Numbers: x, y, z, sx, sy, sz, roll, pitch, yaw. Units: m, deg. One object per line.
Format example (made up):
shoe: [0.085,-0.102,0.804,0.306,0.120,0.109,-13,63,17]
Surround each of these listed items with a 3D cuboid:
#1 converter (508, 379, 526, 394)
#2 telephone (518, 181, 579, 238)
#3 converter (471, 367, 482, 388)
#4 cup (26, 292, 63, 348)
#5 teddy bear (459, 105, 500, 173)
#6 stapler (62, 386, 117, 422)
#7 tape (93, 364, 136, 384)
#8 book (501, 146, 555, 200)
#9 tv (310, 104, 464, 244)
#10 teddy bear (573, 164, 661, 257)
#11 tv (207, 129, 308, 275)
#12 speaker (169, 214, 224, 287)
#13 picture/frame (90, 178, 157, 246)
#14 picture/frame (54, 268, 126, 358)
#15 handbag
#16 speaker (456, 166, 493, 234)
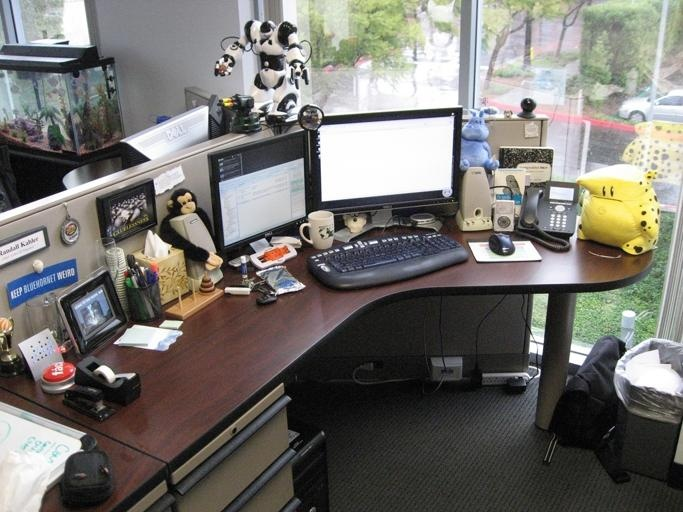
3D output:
converter: [0.901,0.675,2.724,0.097,0.057,0.072,-2,5,5]
telephone: [0.873,-0.196,2.194,0.194,0.269,0.113,6,-15,25]
converter: [0.697,0.636,2.739,0.065,0.127,0.068,3,19,10]
cup: [-0.858,0.199,1.599,0.136,0.142,0.087,5,18,25]
teddy bear: [0.591,-0.492,2.351,0.172,0.304,0.164,10,25,11]
stapler: [-0.682,0.387,1.420,0.154,0.065,0.050,10,27,23]
tape: [-0.631,0.330,1.465,0.065,0.043,0.019,15,17,12]
book: [0.815,-0.364,2.300,0.175,0.183,0.161,1,-1,3]
tv: [0.190,-0.344,2.234,0.594,0.462,0.055,-5,17,-9]
teddy bear: [1.116,-0.132,2.164,0.273,0.393,0.252,11,26,18]
tv: [-0.316,-0.242,2.032,0.087,0.518,0.391,22,28,35]
speaker: [-0.529,-0.015,1.905,0.140,0.271,0.174,-1,21,14]
picture/frame: [-0.728,-0.158,1.816,0.049,0.206,0.178,17,25,27]
picture/frame: [-0.775,0.173,1.650,0.127,0.271,0.272,4,23,17]
handbag: [1.127,0.687,2.405,0.290,0.561,0.364,2,26,-9]
speaker: [0.575,-0.241,2.322,0.138,0.277,0.101,-5,24,-19]
